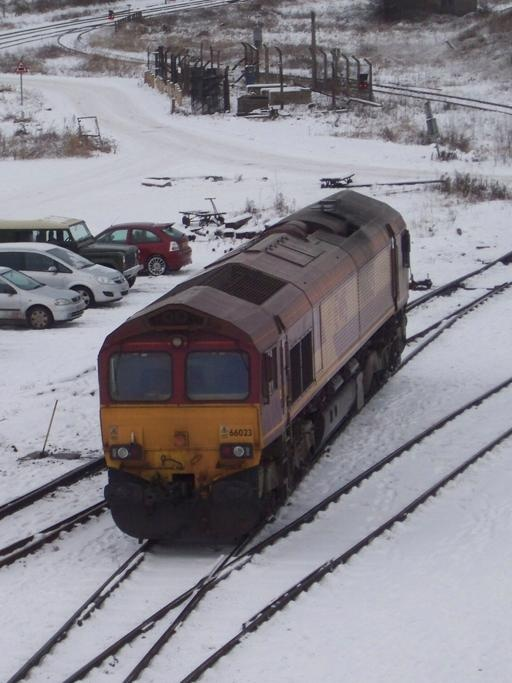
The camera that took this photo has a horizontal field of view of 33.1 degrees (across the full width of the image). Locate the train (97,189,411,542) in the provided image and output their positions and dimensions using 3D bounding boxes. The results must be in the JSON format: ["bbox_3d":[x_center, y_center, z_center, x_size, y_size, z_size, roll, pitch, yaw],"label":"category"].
[{"bbox_3d":[0.588,-0.261,11.777,2.267,2.405,7.121,5,21,18],"label":"train"}]

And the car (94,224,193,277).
[{"bbox_3d":[-3.133,-2.586,24.577,2.516,1.019,1.318,3,9,5],"label":"car"}]
